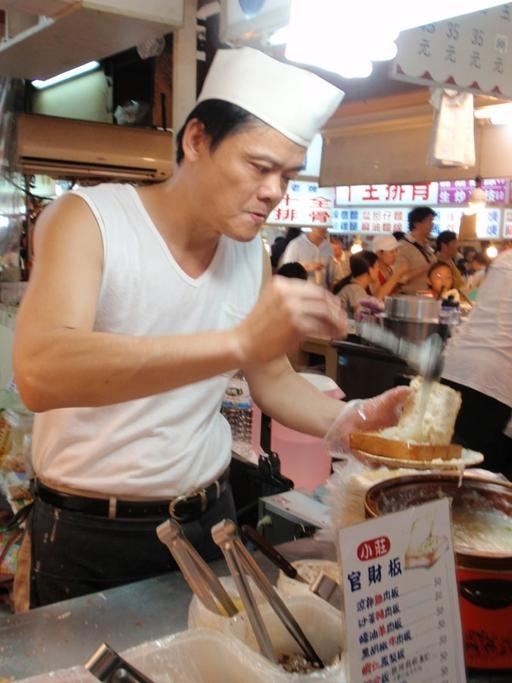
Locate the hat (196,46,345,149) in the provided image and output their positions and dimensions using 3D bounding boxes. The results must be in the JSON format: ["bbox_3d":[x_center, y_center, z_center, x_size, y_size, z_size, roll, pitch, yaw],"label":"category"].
[{"bbox_3d":[-0.006,-0.544,1.133,0.301,0.135,0.248,39,15,26],"label":"hat"}]

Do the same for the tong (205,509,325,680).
[{"bbox_3d":[-0.001,0.293,0.627,0.112,0.172,0.183,-4,12,-33],"label":"tong"}]

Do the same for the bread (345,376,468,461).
[{"bbox_3d":[0.270,0.105,0.853,0.154,0.038,0.155,12,31,41],"label":"bread"}]

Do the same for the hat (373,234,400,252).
[{"bbox_3d":[1.602,-1.234,6.258,0.197,0.139,0.267,-19,10,-31],"label":"hat"}]
